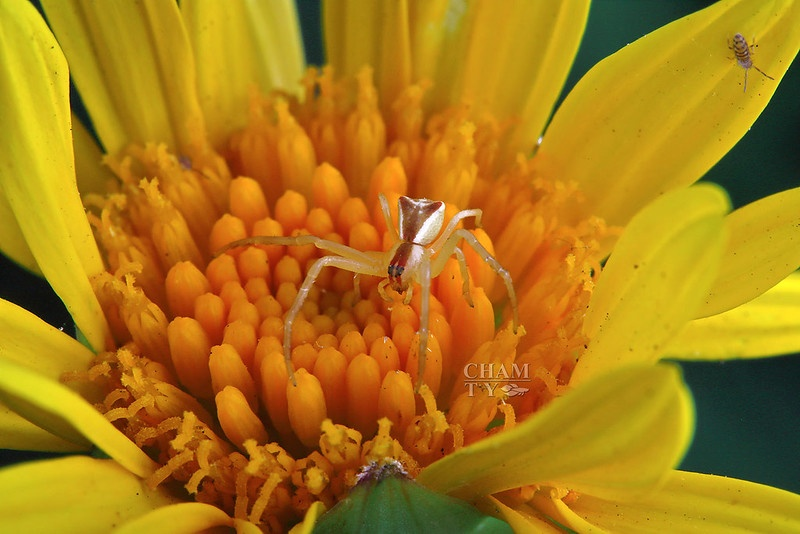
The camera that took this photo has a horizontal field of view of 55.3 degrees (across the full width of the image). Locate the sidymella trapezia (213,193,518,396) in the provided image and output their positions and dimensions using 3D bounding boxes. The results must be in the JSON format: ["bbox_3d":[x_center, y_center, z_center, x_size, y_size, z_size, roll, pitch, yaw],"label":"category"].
[{"bbox_3d":[-0.045,-0.102,1.405,0.395,0.159,0.428,14,41,21],"label":"sidymella trapezia"}]
